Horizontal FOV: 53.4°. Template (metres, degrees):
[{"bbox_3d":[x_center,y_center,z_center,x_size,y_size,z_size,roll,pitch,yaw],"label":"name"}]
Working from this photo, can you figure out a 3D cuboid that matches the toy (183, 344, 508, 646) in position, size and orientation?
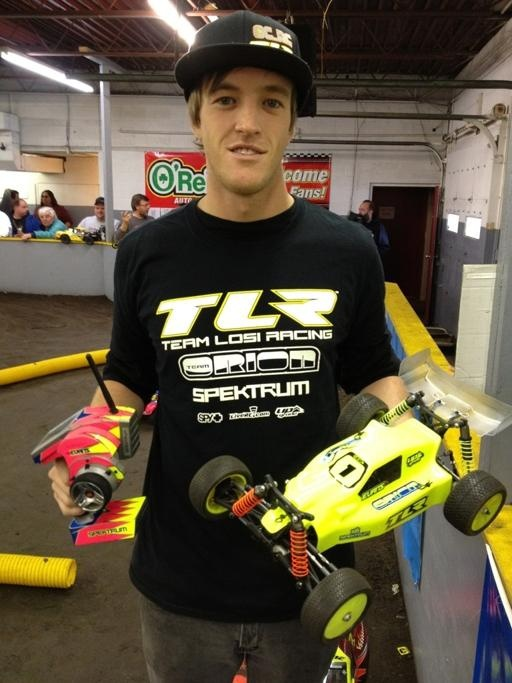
[{"bbox_3d":[0.239,0.263,0.865,0.500,0.171,0.368,-29,52,-23],"label":"toy"}]

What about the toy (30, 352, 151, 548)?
[{"bbox_3d":[-0.330,0.227,1.021,0.207,0.338,0.226,-6,-1,20],"label":"toy"}]

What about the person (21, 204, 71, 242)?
[{"bbox_3d":[-4.216,-2.341,10.225,0.703,0.599,0.891,0,20,17],"label":"person"}]

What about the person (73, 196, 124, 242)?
[{"bbox_3d":[-3.176,-2.463,10.350,0.950,0.838,0.499,4,18,-11],"label":"person"}]

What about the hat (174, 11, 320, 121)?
[{"bbox_3d":[-0.016,-0.512,0.930,0.260,0.136,0.222,0,13,-9],"label":"hat"}]
